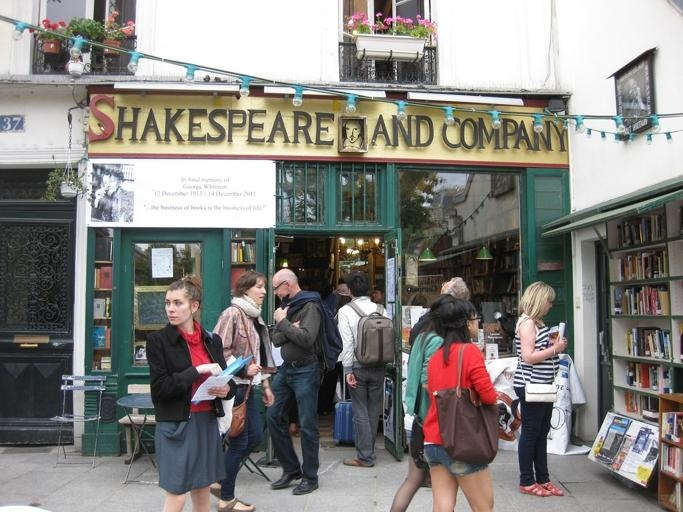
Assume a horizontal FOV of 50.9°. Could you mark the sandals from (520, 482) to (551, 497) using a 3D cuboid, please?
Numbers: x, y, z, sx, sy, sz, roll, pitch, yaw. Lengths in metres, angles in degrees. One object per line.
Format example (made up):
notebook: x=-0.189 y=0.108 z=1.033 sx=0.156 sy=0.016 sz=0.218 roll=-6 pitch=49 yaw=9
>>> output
sandals: x=2.015 y=2.425 z=7.485 sx=0.212 sy=0.094 sz=0.125 roll=-3 pitch=-2 yaw=17

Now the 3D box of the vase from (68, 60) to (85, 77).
vase: x=-3.274 y=-2.316 z=8.893 sx=0.178 sy=0.277 sz=0.261 roll=-1 pitch=-2 yaw=-19

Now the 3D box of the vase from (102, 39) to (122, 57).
vase: x=-2.939 y=-2.692 z=9.274 sx=0.209 sy=0.180 sz=0.173 roll=-1 pitch=-2 yaw=-21

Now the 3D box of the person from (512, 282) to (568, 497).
person: x=2.062 y=1.390 z=7.476 sx=0.484 sy=2.218 sz=0.386 roll=-2 pitch=-2 yaw=-3

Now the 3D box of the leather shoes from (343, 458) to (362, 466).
leather shoes: x=0.141 y=2.405 z=8.428 sx=0.216 sy=0.098 sz=0.083 roll=5 pitch=-9 yaw=15

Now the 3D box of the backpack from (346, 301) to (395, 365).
backpack: x=0.385 y=0.944 z=8.150 sx=0.391 sy=0.659 sz=0.596 roll=1 pitch=-4 yaw=-19

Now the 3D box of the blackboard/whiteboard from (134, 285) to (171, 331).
blackboard/whiteboard: x=-2.278 y=0.639 z=8.621 sx=0.613 sy=0.735 sz=0.071 roll=0 pitch=-4 yaw=-7

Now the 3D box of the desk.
desk: x=-2.285 y=2.006 z=8.347 sx=0.593 sy=0.845 sz=0.762 roll=0 pitch=-8 yaw=-11

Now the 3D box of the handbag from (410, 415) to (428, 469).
handbag: x=0.647 y=1.599 z=6.087 sx=0.229 sy=0.360 sz=0.344 roll=-1 pitch=0 yaw=-1

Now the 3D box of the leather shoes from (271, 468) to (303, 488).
leather shoes: x=-0.568 y=2.377 z=7.737 sx=0.377 sy=0.186 sz=0.135 roll=-4 pitch=2 yaw=-36

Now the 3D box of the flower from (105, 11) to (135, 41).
flower: x=-2.857 y=-2.987 z=9.348 sx=0.330 sy=0.450 sz=0.333 roll=-2 pitch=-2 yaw=7

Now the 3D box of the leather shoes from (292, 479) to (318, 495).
leather shoes: x=-0.370 y=2.420 z=7.568 sx=0.115 sy=0.125 sz=0.278 roll=-7 pitch=-11 yaw=40

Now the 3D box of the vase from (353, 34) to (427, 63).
vase: x=0.648 y=-2.735 z=9.460 sx=0.891 sy=0.303 sz=0.246 roll=-2 pitch=-2 yaw=-7

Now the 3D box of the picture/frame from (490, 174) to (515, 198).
picture/frame: x=2.173 y=-0.960 z=9.723 sx=0.248 sy=0.209 sz=0.034 roll=-14 pitch=2 yaw=-10

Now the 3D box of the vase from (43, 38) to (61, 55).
vase: x=-3.699 y=-2.656 z=9.246 sx=0.178 sy=0.123 sz=0.187 roll=-4 pitch=-5 yaw=29

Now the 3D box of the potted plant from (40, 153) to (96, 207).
potted plant: x=-3.541 y=-0.976 z=9.221 sx=0.706 sy=0.508 sz=0.430 roll=-2 pitch=-2 yaw=0

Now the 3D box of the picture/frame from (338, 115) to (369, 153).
picture/frame: x=0.142 y=-1.574 z=9.320 sx=0.415 sy=0.598 sz=0.091 roll=2 pitch=-10 yaw=-7

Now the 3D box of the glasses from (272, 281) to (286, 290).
glasses: x=-0.662 y=0.314 z=7.656 sx=0.099 sy=0.031 sz=0.098 roll=-31 pitch=9 yaw=39

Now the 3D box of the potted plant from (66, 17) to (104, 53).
potted plant: x=-3.273 y=-2.906 z=9.210 sx=0.454 sy=0.344 sz=0.226 roll=-1 pitch=-2 yaw=-22

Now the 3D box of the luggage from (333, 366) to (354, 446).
luggage: x=0.056 y=1.876 z=9.319 sx=0.332 sy=1.055 sz=0.358 roll=-7 pitch=-17 yaw=27

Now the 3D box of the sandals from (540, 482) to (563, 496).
sandals: x=2.204 y=2.436 z=7.512 sx=0.109 sy=0.093 sz=0.210 roll=4 pitch=-3 yaw=-40
